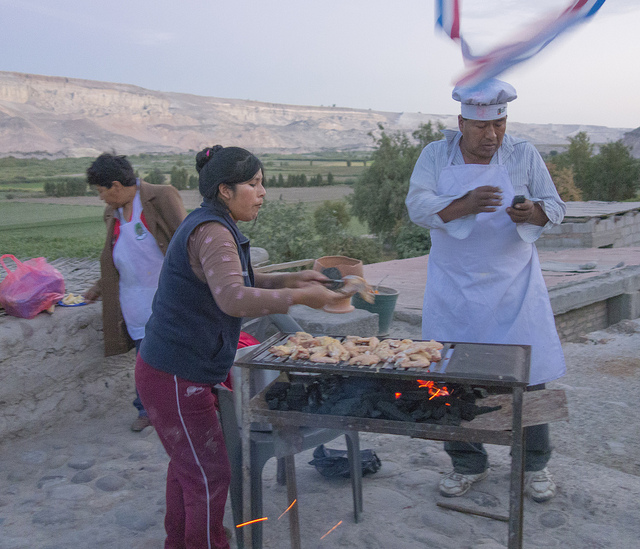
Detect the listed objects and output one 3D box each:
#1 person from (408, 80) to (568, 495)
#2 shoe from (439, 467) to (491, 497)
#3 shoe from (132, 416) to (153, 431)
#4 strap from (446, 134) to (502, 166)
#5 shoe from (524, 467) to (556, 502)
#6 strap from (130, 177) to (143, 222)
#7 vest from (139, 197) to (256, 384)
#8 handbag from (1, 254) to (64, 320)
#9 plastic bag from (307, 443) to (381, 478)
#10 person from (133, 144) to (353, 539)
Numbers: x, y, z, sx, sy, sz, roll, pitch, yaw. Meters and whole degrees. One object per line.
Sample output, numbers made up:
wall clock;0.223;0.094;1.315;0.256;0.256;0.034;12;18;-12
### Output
person;0.901;-0.178;3.078;0.795;1.663;0.563;6;8;41
shoe;0.901;1.257;3.370;0.360;0.105;0.134;-4;2;-37
shoe;-1.403;1.156;4.319;0.137;0.104;0.166;0;4;-17
strap;0.830;-0.663;2.987;0.334;0.161;0.172;3;11;16
shoe;1.306;1.245;3.266;0.183;0.157;0.147;1;5;4
strap;-1.358;-0.509;4.055;0.078;0.240;0.097;-1;6;-19
vest;-0.655;0.057;2.529;0.674;0.756;0.511;0;17;-21
handbag;-2.304;0.104;4.376;0.311;0.481;0.411;5;6;34
plastic bag;0.148;1.230;3.633;0.495;0.139;0.289;1;4;5
person;-0.423;0.355;2.362;0.415;1.805;0.646;-5;9;-44
